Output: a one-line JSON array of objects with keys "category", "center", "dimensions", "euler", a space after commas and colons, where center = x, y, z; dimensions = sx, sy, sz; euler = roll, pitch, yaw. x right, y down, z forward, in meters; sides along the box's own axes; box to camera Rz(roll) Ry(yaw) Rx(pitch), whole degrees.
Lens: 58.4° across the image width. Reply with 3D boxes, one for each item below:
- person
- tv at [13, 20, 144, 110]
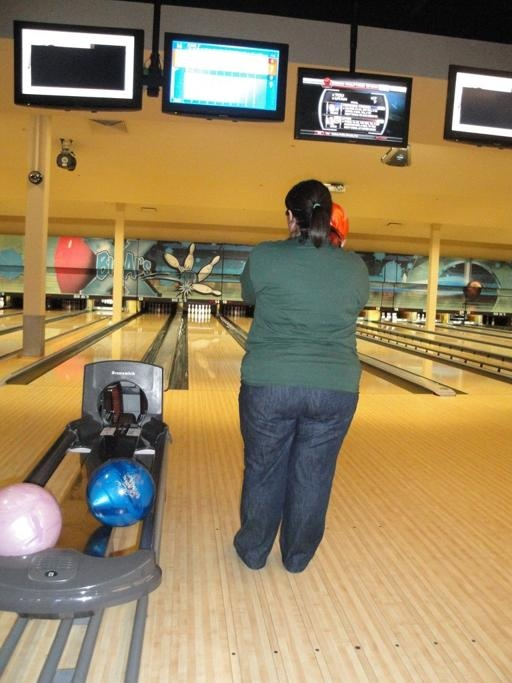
[{"category": "person", "center": [0.105, 0.127, 1.232], "dimensions": [0.325, 1.011, 0.312], "euler": [4, 0, -1]}, {"category": "tv", "center": [-1.074, -1.652, 2.755], "dimensions": [0.606, 0.400, 0.060], "euler": [1, 10, -4]}]
